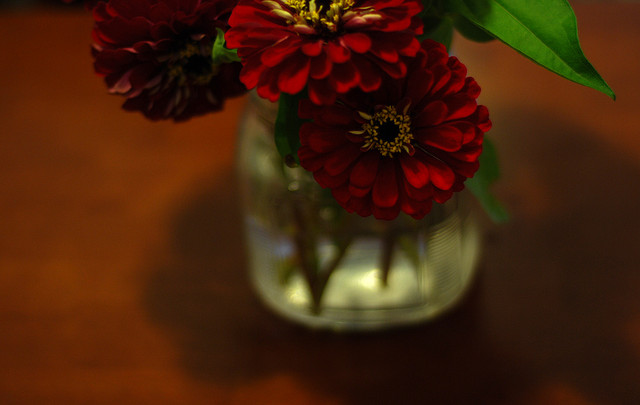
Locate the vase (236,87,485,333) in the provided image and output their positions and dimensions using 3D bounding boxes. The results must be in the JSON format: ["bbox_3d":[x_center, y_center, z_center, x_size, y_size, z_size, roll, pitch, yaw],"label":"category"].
[{"bbox_3d":[0.042,0.030,0.716,0.249,0.250,0.247,16,30,35],"label":"vase"}]
